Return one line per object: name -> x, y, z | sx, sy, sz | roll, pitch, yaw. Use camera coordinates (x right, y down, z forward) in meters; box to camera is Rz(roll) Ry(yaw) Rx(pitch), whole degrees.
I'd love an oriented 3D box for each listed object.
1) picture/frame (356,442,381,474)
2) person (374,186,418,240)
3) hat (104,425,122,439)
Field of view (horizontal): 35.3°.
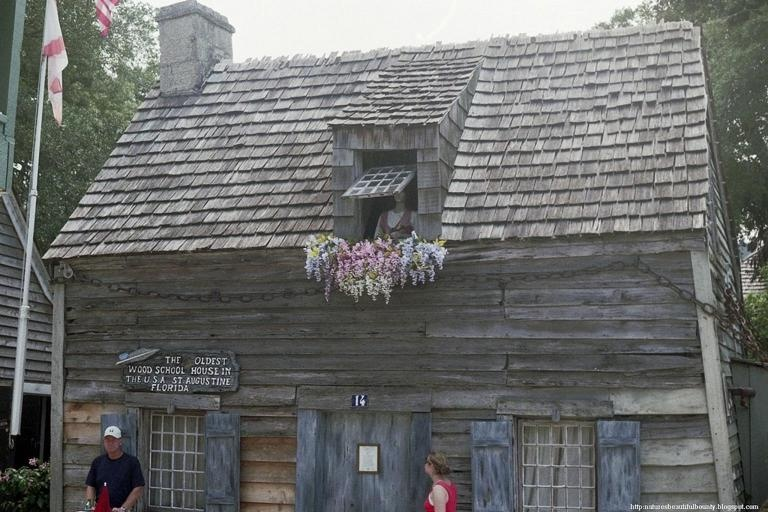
picture/frame -> -0.232, 3.289, 19.648 | 0.560, 0.586, 0.065 | -1, -10, 8
person -> 0.227, -0.715, 19.753 | 0.869, 0.805, 0.517 | -2, -17, 25
hat -> -4.234, 2.697, 18.805 | 0.278, 0.221, 0.375 | 2, -24, -3
